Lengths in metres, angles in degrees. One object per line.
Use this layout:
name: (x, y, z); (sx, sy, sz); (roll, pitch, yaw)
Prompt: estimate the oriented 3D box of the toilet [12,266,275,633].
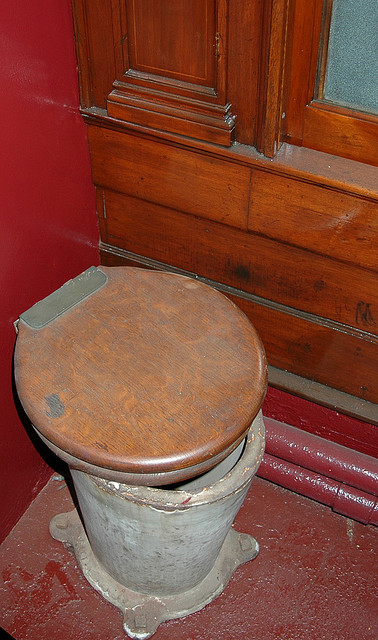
toilet: (-0.118, 0.331, 1.136); (0.520, 0.749, 0.443); (20, 36, 25)
